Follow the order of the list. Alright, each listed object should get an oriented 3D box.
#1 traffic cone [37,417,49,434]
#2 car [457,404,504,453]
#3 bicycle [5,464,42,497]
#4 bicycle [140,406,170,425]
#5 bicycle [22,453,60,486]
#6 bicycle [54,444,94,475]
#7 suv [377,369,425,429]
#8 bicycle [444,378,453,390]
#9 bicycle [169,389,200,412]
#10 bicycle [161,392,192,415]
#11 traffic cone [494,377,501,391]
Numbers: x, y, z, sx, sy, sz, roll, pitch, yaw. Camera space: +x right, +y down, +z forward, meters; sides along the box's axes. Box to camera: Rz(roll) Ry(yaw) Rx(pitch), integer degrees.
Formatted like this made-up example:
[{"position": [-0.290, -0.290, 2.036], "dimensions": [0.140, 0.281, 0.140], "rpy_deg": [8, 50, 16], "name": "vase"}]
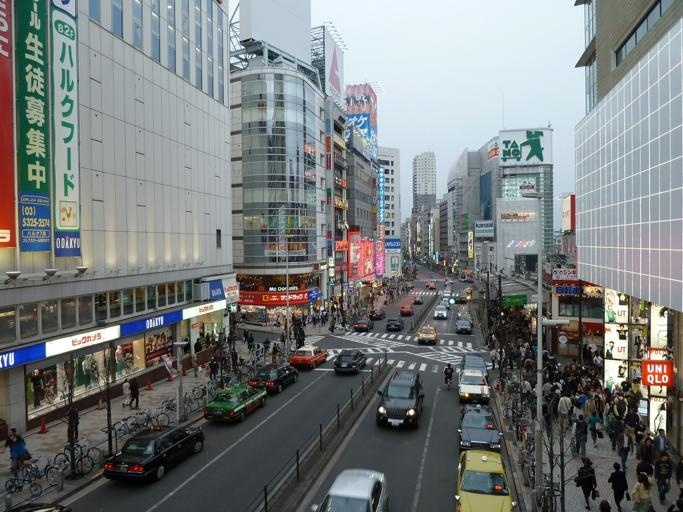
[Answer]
[{"position": [-17.349, 9.718, 35.117], "dimensions": [0.621, 1.061, 0.654], "rpy_deg": [0, 0, 41], "name": "traffic cone"}, {"position": [7.212, 9.062, 31.924], "dimensions": [2.074, 2.059, 2.580], "rpy_deg": [-3, 0, 10], "name": "car"}, {"position": [-15.182, 10.664, 29.220], "dimensions": [1.854, 1.426, 1.050], "rpy_deg": [2, -6, 0], "name": "bicycle"}, {"position": [-10.945, 9.402, 35.712], "dimensions": [1.768, 1.347, 0.976], "rpy_deg": [-1, 2, -10], "name": "bicycle"}, {"position": [-14.869, 10.577, 30.027], "dimensions": [2.100, 1.685, 1.188], "rpy_deg": [0, 0, -3], "name": "bicycle"}, {"position": [-13.559, 10.287, 30.813], "dimensions": [2.090, 1.679, 1.250], "rpy_deg": [-1, 0, -15], "name": "bicycle"}, {"position": [3.397, 8.251, 35.184], "dimensions": [2.039, 3.074, 2.188], "rpy_deg": [-1, -1, 11], "name": "suv"}, {"position": [7.415, 8.652, 41.767], "dimensions": [0.518, 0.718, 1.267], "rpy_deg": [-2, 0, 9], "name": "bicycle"}, {"position": [-9.545, 9.164, 38.171], "dimensions": [1.049, 1.530, 2.231], "rpy_deg": [-2, -4, 28], "name": "bicycle"}, {"position": [-10.323, 9.151, 37.663], "dimensions": [1.733, 1.318, 1.036], "rpy_deg": [-3, 1, -6], "name": "bicycle"}, {"position": [10.602, 8.650, 41.319], "dimensions": [0.513, 1.064, 0.590], "rpy_deg": [-1, 1, 7], "name": "traffic cone"}]
